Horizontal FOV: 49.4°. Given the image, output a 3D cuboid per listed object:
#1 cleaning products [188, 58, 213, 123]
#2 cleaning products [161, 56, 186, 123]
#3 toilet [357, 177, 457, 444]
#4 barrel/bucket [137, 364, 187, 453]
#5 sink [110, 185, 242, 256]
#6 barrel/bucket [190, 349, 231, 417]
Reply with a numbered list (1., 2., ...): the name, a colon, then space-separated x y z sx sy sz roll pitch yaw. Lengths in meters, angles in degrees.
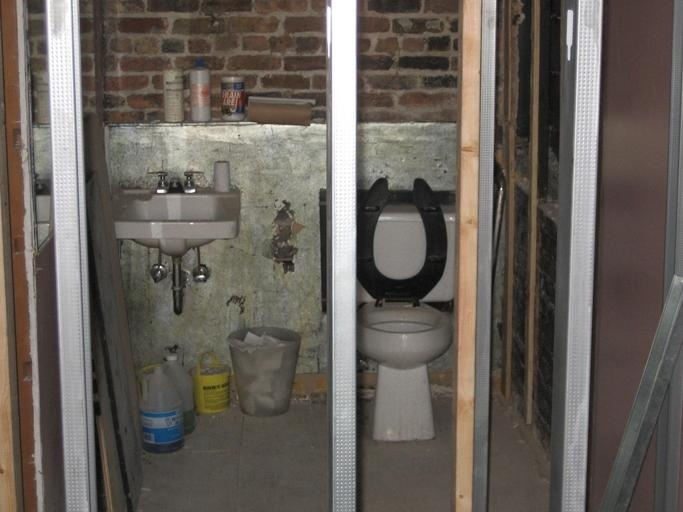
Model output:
1. cleaning products: -0.697 -0.805 3.640 0.101 0.303 0.052 -6 15 -12
2. cleaning products: -0.830 -0.784 3.658 0.109 0.256 0.071 -6 16 -14
3. toilet: 0.302 0.242 3.599 0.453 1.210 0.509 0 15 9
4. barrel/bucket: -0.844 0.714 3.456 0.195 0.391 0.152 -7 16 -16
5. sink: -0.794 -0.112 3.597 0.597 0.265 0.438 -1 22 -16
6. barrel/bucket: -0.654 0.658 3.864 0.168 0.320 0.183 -11 0 0
